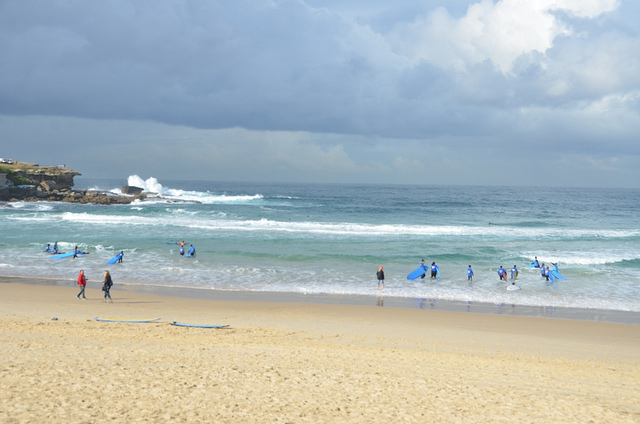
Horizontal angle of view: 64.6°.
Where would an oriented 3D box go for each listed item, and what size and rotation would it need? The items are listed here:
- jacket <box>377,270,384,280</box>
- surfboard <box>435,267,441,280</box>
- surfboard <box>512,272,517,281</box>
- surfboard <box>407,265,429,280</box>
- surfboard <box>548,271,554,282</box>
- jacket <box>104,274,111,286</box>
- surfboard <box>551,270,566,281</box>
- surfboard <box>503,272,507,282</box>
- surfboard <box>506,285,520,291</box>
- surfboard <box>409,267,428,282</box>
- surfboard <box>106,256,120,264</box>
[{"bbox_3d":[3.929,4.077,33.032,0.387,0.643,0.650,2,-3,5],"label":"jacket"},{"bbox_3d":[8.362,4.332,35.819,0.325,0.727,1.332,2,-2,13],"label":"surfboard"},{"bbox_3d":[13.555,4.468,35.314,0.273,0.608,0.189,7,12,-12],"label":"surfboard"},{"bbox_3d":[6.775,4.194,35.586,1.749,0.966,0.825,4,-3,-34],"label":"surfboard"},{"bbox_3d":[16.188,4.526,35.476,0.152,0.799,0.220,1,-36,-23],"label":"surfboard"},{"bbox_3d":[-12.145,3.854,28.828,0.361,0.657,0.343,3,-3,-2],"label":"jacket"},{"bbox_3d":[16.725,4.423,35.644,0.557,0.204,0.873,-6,36,-29],"label":"surfboard"},{"bbox_3d":[12.785,4.420,35.012,0.189,0.623,0.838,1,-3,32],"label":"surfboard"},{"bbox_3d":[12.665,4.982,33.414,0.761,0.293,1.152,0,-3,39],"label":"surfboard"},{"bbox_3d":[6.663,4.313,35.301,0.704,0.816,1.294,0,-3,42],"label":"surfboard"},{"bbox_3d":[-15.348,3.503,37.269,0.878,0.542,0.770,0,-3,42],"label":"surfboard"}]
